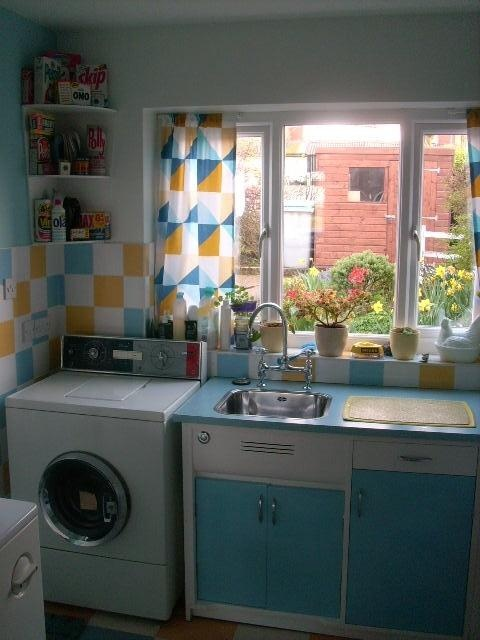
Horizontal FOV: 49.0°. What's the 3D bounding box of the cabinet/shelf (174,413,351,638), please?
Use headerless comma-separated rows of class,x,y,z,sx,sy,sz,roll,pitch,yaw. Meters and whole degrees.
cabinet/shelf,0.107,0.761,1.982,0.633,0.948,0.485,3,12,16

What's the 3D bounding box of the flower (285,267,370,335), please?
flower,0.421,-0.116,2.473,0.299,0.237,0.327,9,22,1

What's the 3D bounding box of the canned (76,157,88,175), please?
canned,-0.707,-0.689,2.355,0.062,0.096,0.064,-7,18,-27

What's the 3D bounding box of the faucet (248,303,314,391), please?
faucet,0.200,0.080,2.436,0.276,0.387,0.439,1,11,8

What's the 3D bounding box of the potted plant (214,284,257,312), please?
potted plant,-0.024,-0.100,2.504,0.154,0.120,0.127,1,17,2

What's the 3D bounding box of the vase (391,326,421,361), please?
vase,0.736,0.099,2.412,0.124,0.162,0.130,6,8,41

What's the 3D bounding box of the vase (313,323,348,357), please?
vase,0.410,0.083,2.384,0.138,0.122,0.127,-1,4,-32

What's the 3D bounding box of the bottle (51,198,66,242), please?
bottle,-0.820,-0.453,2.377,0.065,0.192,0.171,-4,12,-18

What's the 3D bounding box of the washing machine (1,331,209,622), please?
washing machine,-0.547,0.645,2.266,0.725,1.034,0.508,3,11,17
